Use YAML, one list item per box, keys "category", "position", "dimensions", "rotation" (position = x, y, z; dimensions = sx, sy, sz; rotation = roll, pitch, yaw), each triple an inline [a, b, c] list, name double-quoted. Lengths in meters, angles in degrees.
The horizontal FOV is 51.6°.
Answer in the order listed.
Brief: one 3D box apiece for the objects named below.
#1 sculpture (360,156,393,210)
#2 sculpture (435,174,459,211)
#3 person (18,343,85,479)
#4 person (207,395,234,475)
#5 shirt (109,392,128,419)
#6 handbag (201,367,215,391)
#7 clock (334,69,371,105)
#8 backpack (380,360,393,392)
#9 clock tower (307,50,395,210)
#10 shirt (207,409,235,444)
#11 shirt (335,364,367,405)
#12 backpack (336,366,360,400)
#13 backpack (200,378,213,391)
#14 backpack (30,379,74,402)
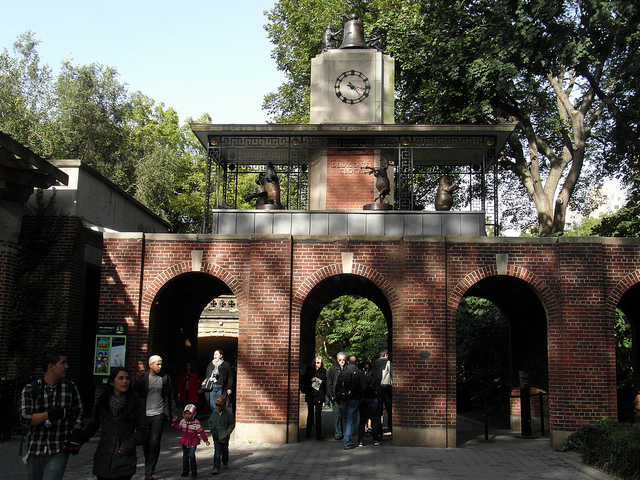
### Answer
- category: "sculpture"
  position: [1.800, -1.718, 20.231]
  dimensions: [0.851, 1.719, 1.018]
  rotation: [1, -5, 6]
- category: "sculpture"
  position: [3.779, -1.429, 19.999]
  dimensions: [0.593, 1.219, 0.937]
  rotation: [0, -5, 12]
- category: "person"
  position: [-4.082, 2.637, 10.035]
  dimensions: [0.875, 1.915, 0.338]
  rotation: [4, -6, -26]
- category: "person"
  position: [-2.090, 4.061, 13.821]
  dimensions: [0.480, 1.689, 0.983]
  rotation: [1, -5, 9]
- category: "shirt"
  position: [-3.096, 2.529, 10.140]
  dimensions: [0.259, 0.340, 0.151]
  rotation: [3, -5, -17]
- category: "handbag"
  position: [-2.809, 3.552, 16.593]
  dimensions: [0.369, 0.521, 0.521]
  rotation: [-3, -19, 12]
- category: "clock"
  position: [1.080, -5.106, 22.264]
  dimensions: [1.066, 1.154, 0.129]
  rotation: [1, -4, 6]
- category: "backpack"
  position: [1.769, 3.646, 17.569]
  dimensions: [0.187, 0.789, 0.594]
  rotation: [-3, -7, 40]
- category: "clock tower"
  position: [1.016, -3.733, 21.703]
  dimensions: [2.770, 5.699, 1.590]
  rotation: [2, -5, -2]
- category: "shirt"
  position: [-2.063, 3.875, 13.800]
  dimensions: [0.511, 0.656, 0.351]
  rotation: [-1, 2, -4]
- category: "shirt"
  position: [0.910, 3.658, 16.945]
  dimensions: [1.000, 1.216, 0.811]
  rotation: [7, -22, -16]
- category: "backpack"
  position: [0.660, 3.621, 16.492]
  dimensions: [0.467, 0.729, 0.726]
  rotation: [-1, -18, 17]
- category: "backpack"
  position: [-2.811, 3.575, 16.403]
  dimensions: [0.226, 0.308, 0.116]
  rotation: [4, -9, 10]
- category: "backpack"
  position: [-4.128, 2.250, 10.113]
  dimensions: [0.296, 0.454, 0.415]
  rotation: [1, 10, 11]
